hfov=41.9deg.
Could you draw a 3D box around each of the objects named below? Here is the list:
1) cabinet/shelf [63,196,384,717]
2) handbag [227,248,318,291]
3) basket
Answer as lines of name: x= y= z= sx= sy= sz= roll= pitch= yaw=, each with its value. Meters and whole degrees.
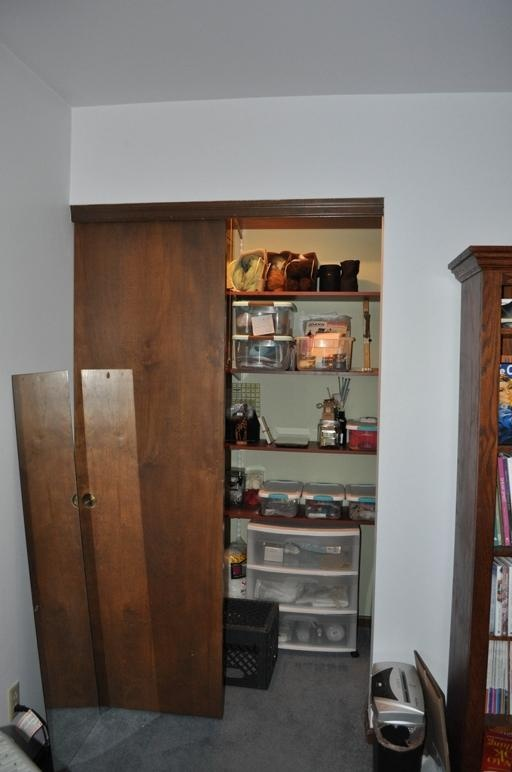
cabinet/shelf: x=-0.310 y=0.315 z=2.742 sx=0.898 sy=2.065 sz=0.493 roll=0 pitch=14 yaw=3
handbag: x=0.068 y=-0.485 z=2.903 sx=0.278 sy=0.121 sz=0.224 roll=0 pitch=5 yaw=6
basket: x=0.002 y=1.120 z=3.003 sx=0.355 sy=0.362 sz=0.303 roll=3 pitch=1 yaw=5
